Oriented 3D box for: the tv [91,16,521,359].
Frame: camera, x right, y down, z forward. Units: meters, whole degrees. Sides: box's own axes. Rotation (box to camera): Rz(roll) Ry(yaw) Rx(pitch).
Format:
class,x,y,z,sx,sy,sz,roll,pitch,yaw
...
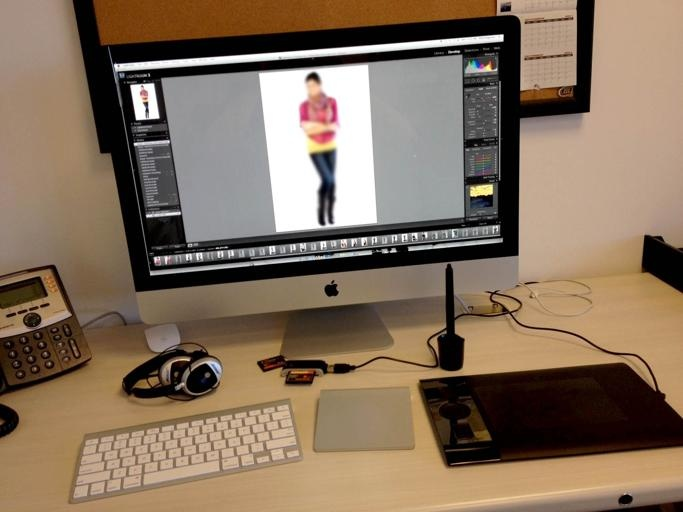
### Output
class,x,y,z,sx,sy,sz,roll,pitch,yaw
tv,-0.058,-0.162,1.271,0.702,0.192,0.603,-5,-58,-1
